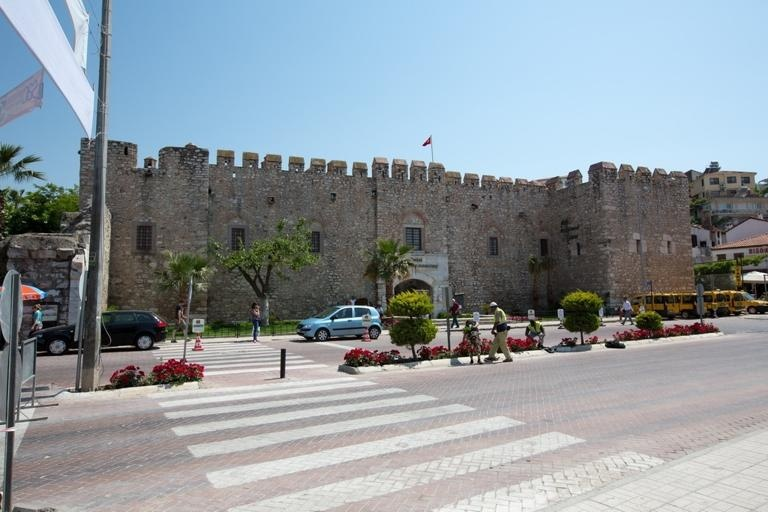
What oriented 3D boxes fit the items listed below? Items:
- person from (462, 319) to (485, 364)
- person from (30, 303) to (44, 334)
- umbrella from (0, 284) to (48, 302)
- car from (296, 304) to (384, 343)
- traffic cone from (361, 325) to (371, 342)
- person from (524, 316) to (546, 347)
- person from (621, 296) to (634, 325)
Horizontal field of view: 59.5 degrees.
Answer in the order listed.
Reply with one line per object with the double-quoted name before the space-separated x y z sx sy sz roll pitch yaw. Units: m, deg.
"person" 2.928 2.804 22.346 0.604 1.381 0.970 0 7 6
"person" -13.319 2.388 25.822 0.426 0.985 1.905 -5 8 -27
"umbrella" -10.097 1.036 18.951 1.210 0.383 1.173 -1 -7 4
"car" -2.128 3.059 30.626 3.135 1.314 1.660 5 -10 -24
"traffic cone" -0.811 3.474 29.983 0.561 0.594 0.587 1 -8 -5
"person" 5.571 2.884 24.897 0.621 1.169 1.406 0 7 12
"person" 13.013 3.044 36.216 0.544 1.499 2.461 1 8 19
